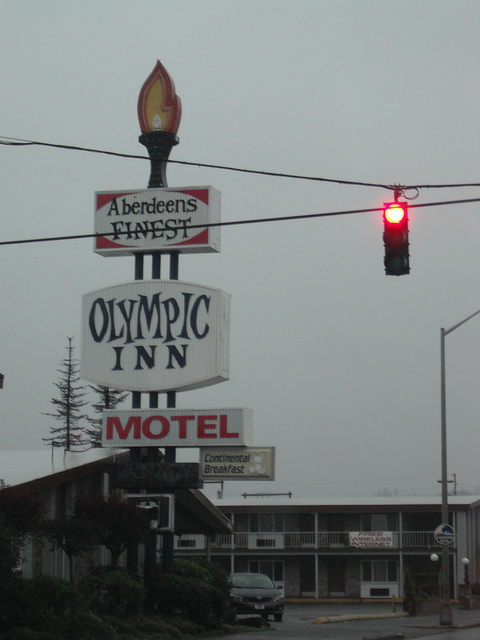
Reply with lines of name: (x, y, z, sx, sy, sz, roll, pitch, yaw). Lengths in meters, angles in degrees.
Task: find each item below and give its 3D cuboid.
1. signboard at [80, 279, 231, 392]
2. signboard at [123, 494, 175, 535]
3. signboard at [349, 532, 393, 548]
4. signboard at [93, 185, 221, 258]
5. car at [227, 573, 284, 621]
signboard: (-2.608, 0.581, 53.875, 4.302, 3.885, 0.748, -1, -30, 2)
signboard: (-2.429, 5.693, 52.294, 1.132, 1.192, 0.601, 2, -12, -11)
signboard: (6.079, 10.124, 81.823, 1.949, 0.717, 0.346, -3, -12, 8)
signboard: (-2.446, -3.008, 54.270, 3.554, 2.289, 2.181, 4, -14, -17)
car: (0.311, 9.111, 57.949, 1.862, 1.707, 4.524, 2, -12, -9)
